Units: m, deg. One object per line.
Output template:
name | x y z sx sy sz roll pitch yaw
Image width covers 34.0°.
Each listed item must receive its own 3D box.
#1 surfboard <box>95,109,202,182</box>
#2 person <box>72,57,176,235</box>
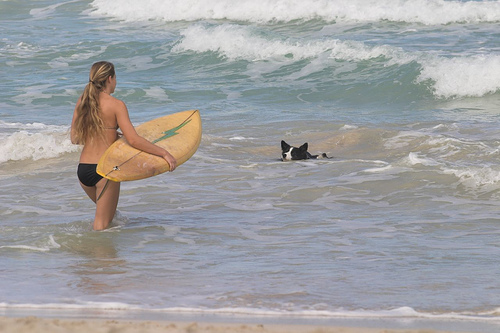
surfboard | -1.838 -0.408 15.439 1.269 0.237 2.255 28 51 17
person | -2.670 -0.316 14.970 0.845 3.188 0.831 -7 19 -36
